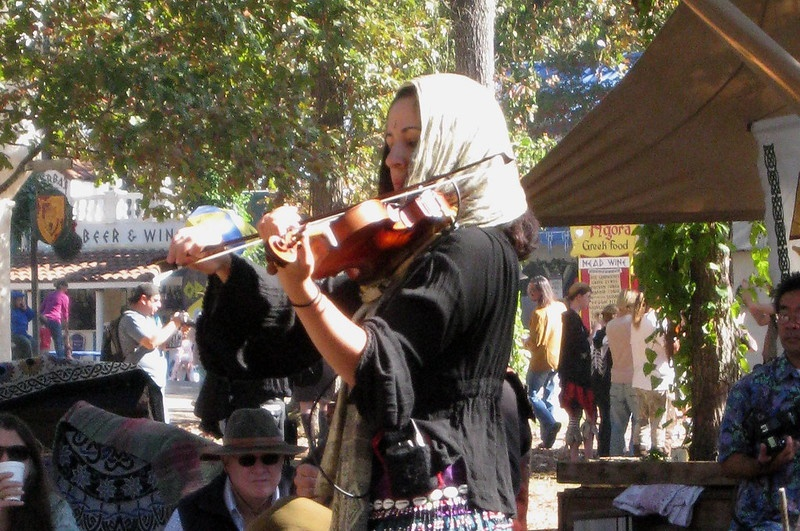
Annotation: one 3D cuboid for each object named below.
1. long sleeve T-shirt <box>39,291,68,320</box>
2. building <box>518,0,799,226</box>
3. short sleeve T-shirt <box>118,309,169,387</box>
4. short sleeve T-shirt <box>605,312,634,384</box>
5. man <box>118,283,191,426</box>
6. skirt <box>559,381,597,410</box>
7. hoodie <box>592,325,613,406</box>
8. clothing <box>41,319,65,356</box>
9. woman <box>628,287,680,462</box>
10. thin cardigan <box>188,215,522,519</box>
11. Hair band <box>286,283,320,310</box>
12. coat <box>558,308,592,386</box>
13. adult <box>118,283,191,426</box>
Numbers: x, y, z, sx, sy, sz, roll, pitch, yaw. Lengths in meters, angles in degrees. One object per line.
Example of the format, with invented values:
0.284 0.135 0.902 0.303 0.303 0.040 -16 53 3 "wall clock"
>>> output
-7.470 0.868 17.358 0.516 0.581 0.351 7 -32 -6 "long sleeve T-shirt"
2.017 -1.026 6.383 1.942 1.201 1.684 0 -6 8 "building"
-2.922 0.885 9.137 0.480 0.889 0.760 -6 6 -13 "short sleeve T-shirt"
2.828 1.075 10.722 0.525 0.855 0.475 1 6 -2 "short sleeve T-shirt"
-2.820 1.297 9.152 0.745 2.127 0.720 2 2 -16 "man"
2.296 1.688 10.418 0.428 0.364 0.231 0 -6 10 "skirt"
2.790 1.284 10.904 0.277 0.338 0.999 -9 -31 6 "hoodie"
-7.352 1.464 17.020 0.520 0.779 0.924 4 -6 -25 "clothing"
3.382 1.918 10.756 0.495 0.468 1.723 4 -37 14 "woman"
-0.154 0.437 3.339 1.153 1.170 0.630 -3 -7 35 "thin cardigan"
-0.346 0.120 2.997 0.116 0.082 0.076 1 -6 -2 "Hair band"
2.355 1.063 10.701 0.483 0.966 0.728 2 -1 4 "coat"
-2.812 1.301 9.138 0.749 2.128 0.702 2 1 -4 "adult"
